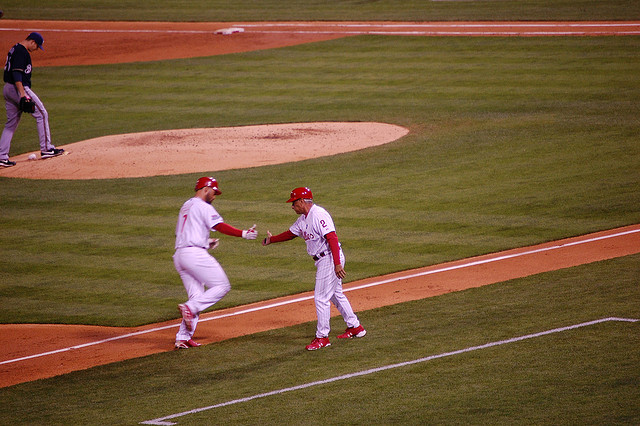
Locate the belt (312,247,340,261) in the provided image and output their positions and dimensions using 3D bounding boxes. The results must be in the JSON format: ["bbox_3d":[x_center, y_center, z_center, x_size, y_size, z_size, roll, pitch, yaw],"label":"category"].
[{"bbox_3d":[0.168,0.960,30.531,0.360,0.107,0.263,-29,-7,25],"label":"belt"}]

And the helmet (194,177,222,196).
[{"bbox_3d":[-2.723,-0.662,31.207,0.714,0.238,0.423,5,-1,-11],"label":"helmet"}]

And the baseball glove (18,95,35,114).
[{"bbox_3d":[-8.830,-3.273,39.161,0.464,0.573,0.517,-8,15,-9],"label":"baseball glove"}]

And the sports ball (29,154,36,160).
[{"bbox_3d":[-9.107,-1.768,41.183,0.180,0.169,0.186,9,31,-6],"label":"sports ball"}]
